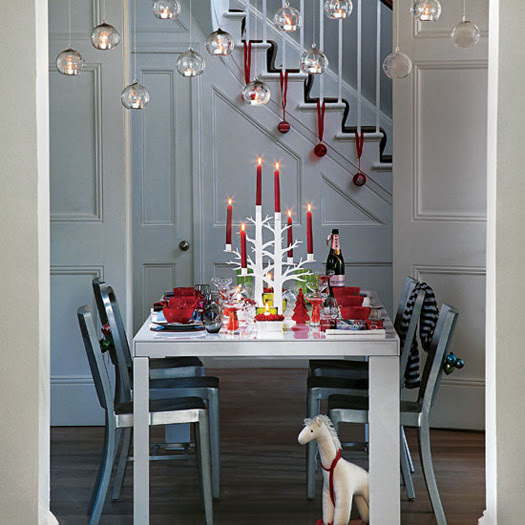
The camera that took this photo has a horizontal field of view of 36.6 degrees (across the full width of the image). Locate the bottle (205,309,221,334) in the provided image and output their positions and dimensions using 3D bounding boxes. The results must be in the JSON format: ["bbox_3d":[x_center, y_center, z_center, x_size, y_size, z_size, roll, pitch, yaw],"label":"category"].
[{"bbox_3d":[-0.205,0.239,3.230,0.061,0.107,0.066,0,-7,0],"label":"bottle"}]

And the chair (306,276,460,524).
[{"bbox_3d":[0.575,0.627,3.914,0.666,1.835,0.814,3,-1,0],"label":"chair"}]

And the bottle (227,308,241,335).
[{"bbox_3d":[-0.122,0.239,3.275,0.055,0.163,0.072,0,-8,-3],"label":"bottle"}]

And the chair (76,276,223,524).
[{"bbox_3d":[-0.473,0.594,3.925,0.655,1.811,0.808,-1,4,-4],"label":"chair"}]
